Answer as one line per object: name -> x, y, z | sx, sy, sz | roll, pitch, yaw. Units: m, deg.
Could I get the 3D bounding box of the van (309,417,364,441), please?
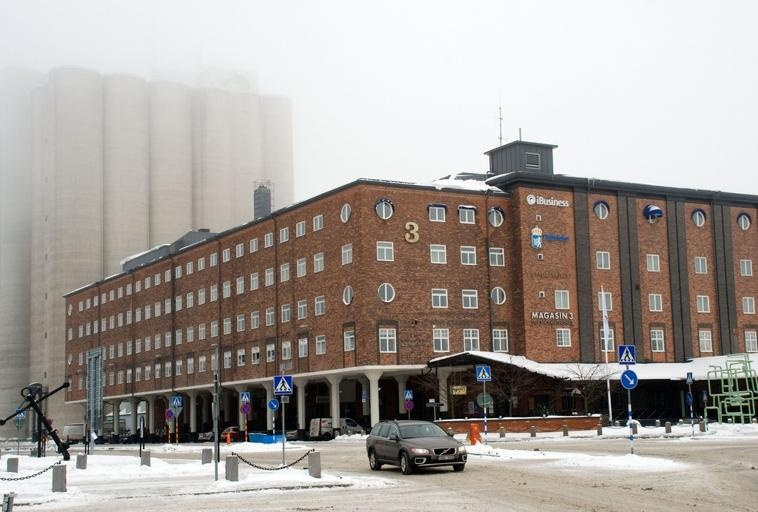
van -> -3.536, 15.311, 78.682 | 4.559, 1.632, 2.213 | 1, -7, -23

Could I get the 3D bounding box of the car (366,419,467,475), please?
car -> 1.649, 9.046, 42.210 | 2.468, 2.519, 4.819 | -10, 8, -39

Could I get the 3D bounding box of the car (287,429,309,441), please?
car -> -7.296, 16.160, 81.551 | 1.622, 0.731, 1.047 | 13, -17, -28

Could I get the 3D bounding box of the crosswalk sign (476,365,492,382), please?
crosswalk sign -> 6.419, 7.268, 55.615 | 0.641, 1.027, 1.495 | -3, 6, 16
